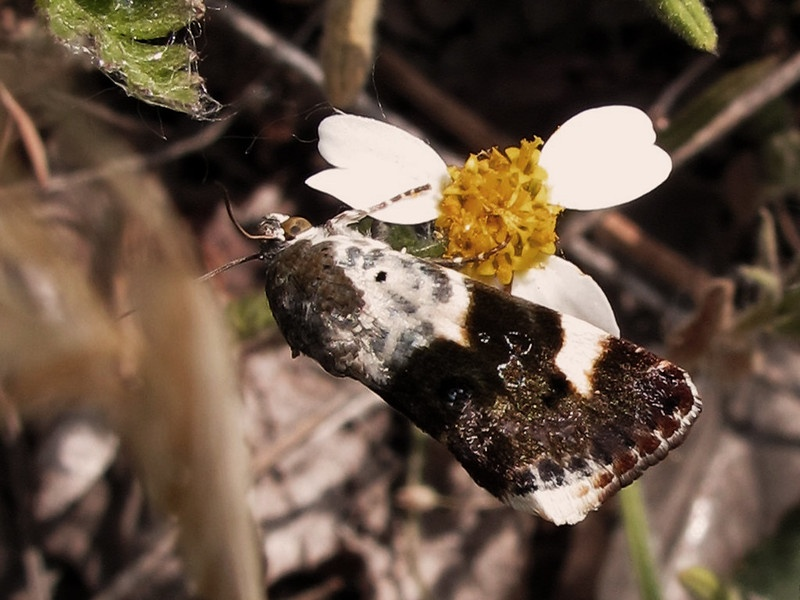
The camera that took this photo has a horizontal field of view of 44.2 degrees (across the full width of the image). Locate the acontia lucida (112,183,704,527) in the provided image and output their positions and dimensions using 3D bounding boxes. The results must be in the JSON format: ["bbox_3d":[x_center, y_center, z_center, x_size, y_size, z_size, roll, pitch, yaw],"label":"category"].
[{"bbox_3d":[0.118,0.125,1.779,0.673,0.192,0.497,27,59,7],"label":"acontia lucida"}]
